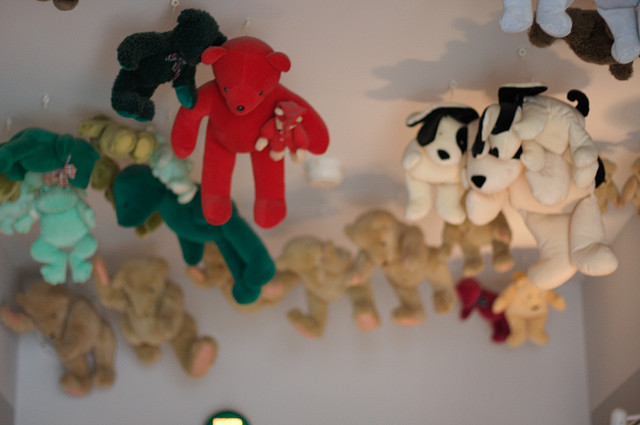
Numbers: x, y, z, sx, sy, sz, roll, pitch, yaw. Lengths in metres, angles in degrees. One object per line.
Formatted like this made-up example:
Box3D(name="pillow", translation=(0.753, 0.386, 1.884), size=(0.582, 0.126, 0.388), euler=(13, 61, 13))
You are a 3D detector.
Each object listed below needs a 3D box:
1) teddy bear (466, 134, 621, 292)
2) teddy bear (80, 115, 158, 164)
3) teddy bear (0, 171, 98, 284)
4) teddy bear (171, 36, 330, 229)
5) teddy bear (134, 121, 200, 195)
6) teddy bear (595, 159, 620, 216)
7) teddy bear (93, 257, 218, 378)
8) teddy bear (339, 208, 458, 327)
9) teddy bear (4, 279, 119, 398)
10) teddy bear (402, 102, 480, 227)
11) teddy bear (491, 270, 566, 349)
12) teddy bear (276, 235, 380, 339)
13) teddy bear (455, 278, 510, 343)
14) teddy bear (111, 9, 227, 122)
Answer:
Box3D(name="teddy bear", translation=(1.118, -0.024, 3.676), size=(0.462, 0.811, 0.451), euler=(-27, 24, 52))
Box3D(name="teddy bear", translation=(-0.993, -0.359, 3.621), size=(0.319, 0.139, 0.211), euler=(23, 20, 38))
Box3D(name="teddy bear", translation=(-1.339, 0.064, 3.553), size=(0.455, 0.564, 0.171), euler=(-6, 16, -8))
Box3D(name="teddy bear", translation=(-0.369, -0.431, 3.578), size=(0.894, 1.023, 0.526), euler=(1, 8, -4))
Box3D(name="teddy bear", translation=(-0.771, -0.263, 3.628), size=(0.259, 0.386, 0.121), euler=(-36, 6, -18))
Box3D(name="teddy bear", translation=(1.551, -0.123, 3.908), size=(0.187, 0.310, 0.083), euler=(-4, -22, 18))
Box3D(name="teddy bear", translation=(-0.913, 0.558, 4.028), size=(0.474, 0.685, 0.246), euler=(-24, 11, -2))
Box3D(name="teddy bear", translation=(0.427, 0.297, 3.945), size=(0.636, 0.540, 0.317), euler=(4, 24, 1))
Box3D(name="teddy bear", translation=(-1.420, 0.690, 4.091), size=(0.691, 0.693, 0.480), euler=(6, -2, -3))
Box3D(name="teddy bear", translation=(0.603, -0.256, 3.714), size=(0.358, 0.594, 0.167), euler=(7, 24, 7))
Box3D(name="teddy bear", translation=(1.175, 0.527, 4.064), size=(0.392, 0.411, 0.264), euler=(1, 29, 1))
Box3D(name="teddy bear", translation=(0.018, 0.364, 3.916), size=(0.495, 0.564, 0.173), euler=(-8, 24, 17))
Box3D(name="teddy bear", translation=(0.912, 0.530, 4.007), size=(0.338, 0.340, 0.112), euler=(18, 22, 0))
Box3D(name="teddy bear", translation=(-0.731, -0.721, 3.468), size=(0.326, 0.575, 0.364), euler=(39, 6, 24))
